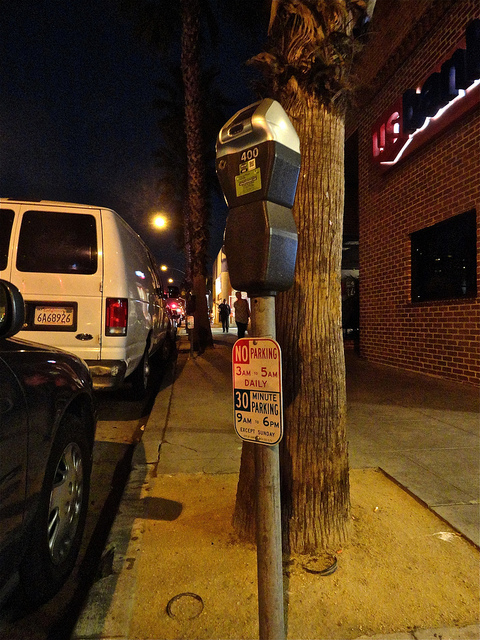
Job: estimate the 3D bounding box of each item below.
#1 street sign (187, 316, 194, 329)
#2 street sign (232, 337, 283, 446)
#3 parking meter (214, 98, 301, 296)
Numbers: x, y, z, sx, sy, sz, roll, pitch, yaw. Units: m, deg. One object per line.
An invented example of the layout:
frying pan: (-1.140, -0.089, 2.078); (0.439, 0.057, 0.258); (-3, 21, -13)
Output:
street sign: (-1.118, 0.046, 10.253); (0.033, 0.430, 0.188); (-6, 11, -39)
street sign: (0.055, 0.230, 1.478); (0.062, 0.342, 0.226); (2, -2, -35)
parking meter: (0.054, -0.412, 1.536); (0.299, 0.669, 0.231); (0, -2, 9)
